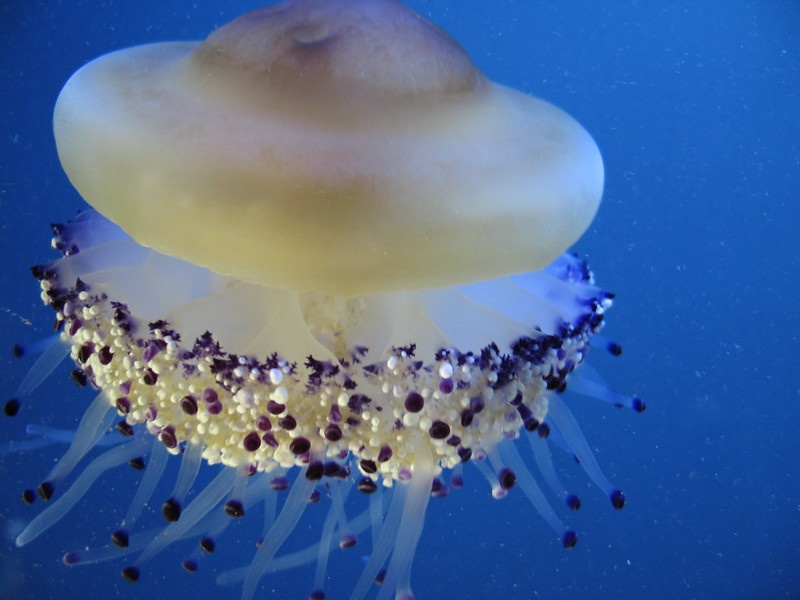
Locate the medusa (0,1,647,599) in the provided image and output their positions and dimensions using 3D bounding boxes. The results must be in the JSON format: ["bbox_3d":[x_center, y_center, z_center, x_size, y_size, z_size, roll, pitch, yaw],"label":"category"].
[{"bbox_3d":[-0.241,0.031,3.277,1.705,1.705,1.060,-5,-10,12],"label":"medusa"}]
